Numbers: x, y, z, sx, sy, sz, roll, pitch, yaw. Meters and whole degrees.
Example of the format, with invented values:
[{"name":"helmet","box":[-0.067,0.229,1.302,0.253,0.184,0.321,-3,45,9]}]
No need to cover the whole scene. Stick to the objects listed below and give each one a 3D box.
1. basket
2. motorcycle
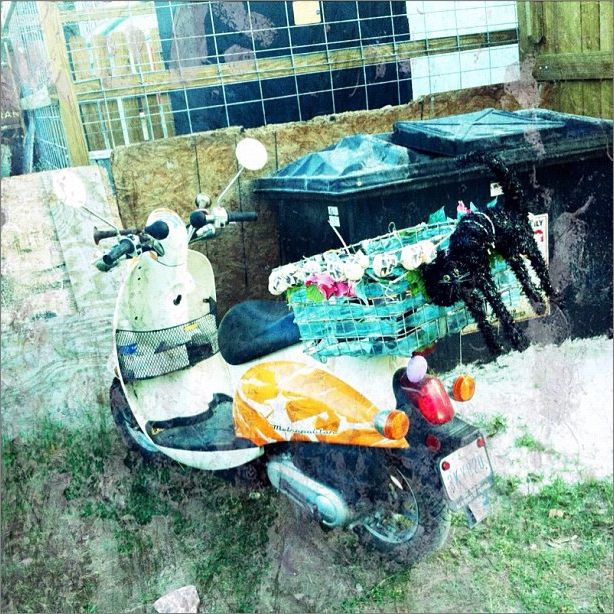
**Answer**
[{"name":"basket","box":[0.269,-0.005,2.431,0.662,0.389,0.485,-27,9,-31]},{"name":"motorcycle","box":[-0.205,0.159,2.758,1.761,1.505,0.912,9,24,35]}]
